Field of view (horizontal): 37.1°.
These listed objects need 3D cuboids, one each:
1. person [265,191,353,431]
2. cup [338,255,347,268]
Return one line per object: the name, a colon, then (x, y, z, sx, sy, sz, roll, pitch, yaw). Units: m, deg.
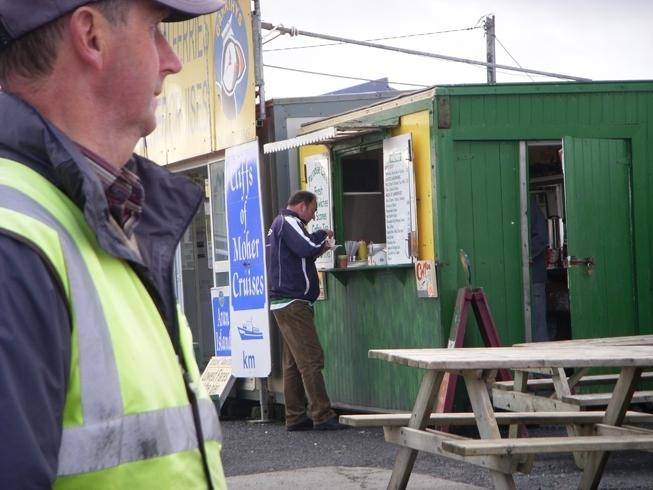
person: (-0.235, 0.570, 8.596, 0.480, 2.103, 0.712, -1, -2, -32)
cup: (0.138, 0.139, 8.833, 0.085, 0.123, 0.095, 1, -2, 12)
